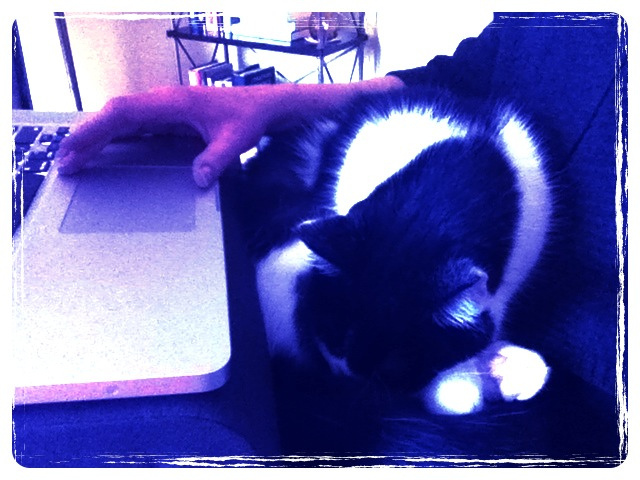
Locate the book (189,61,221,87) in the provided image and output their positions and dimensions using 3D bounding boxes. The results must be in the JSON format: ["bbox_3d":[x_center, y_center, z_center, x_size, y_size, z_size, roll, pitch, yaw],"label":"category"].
[{"bbox_3d":[-0.165,-0.233,0.876,0.015,0.041,0.046,6,12,23],"label":"book"}]

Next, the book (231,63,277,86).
[{"bbox_3d":[-0.098,-0.233,0.867,0.052,0.024,0.104,-16,27,-31],"label":"book"}]

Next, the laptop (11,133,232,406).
[{"bbox_3d":[-0.210,-0.028,0.673,0.207,0.015,0.393,-3,50,-7],"label":"laptop"}]

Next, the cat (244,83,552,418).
[{"bbox_3d":[0.092,-0.010,0.734,0.348,0.313,0.306,-5,23,-8],"label":"cat"}]
